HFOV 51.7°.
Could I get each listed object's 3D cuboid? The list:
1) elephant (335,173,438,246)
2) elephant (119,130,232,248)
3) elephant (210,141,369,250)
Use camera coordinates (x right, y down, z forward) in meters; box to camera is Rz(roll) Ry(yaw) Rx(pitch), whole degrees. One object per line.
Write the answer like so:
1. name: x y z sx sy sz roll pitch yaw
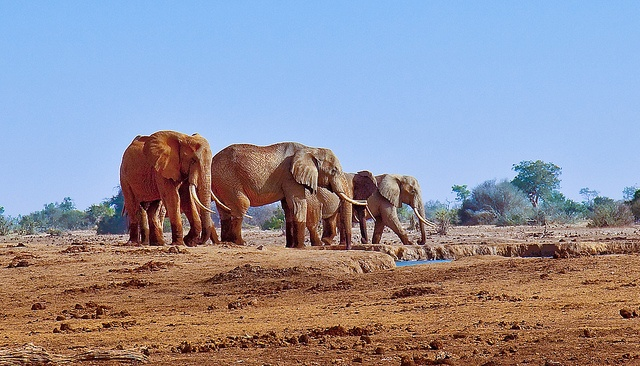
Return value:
1. elephant: 3.449 1.356 31.699 5.153 3.206 2.548 2 -8 39
2. elephant: -6.168 0.389 26.621 5.214 4.564 2.800 2 -2 35
3. elephant: -1.258 0.448 27.309 6.647 4.275 2.755 1 2 -11
